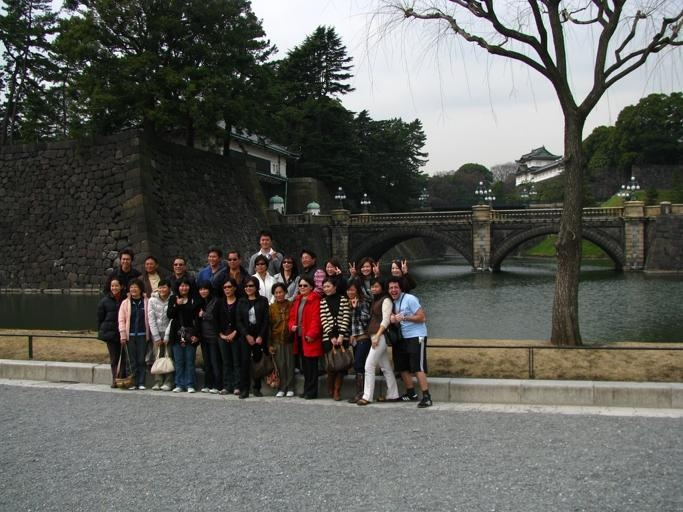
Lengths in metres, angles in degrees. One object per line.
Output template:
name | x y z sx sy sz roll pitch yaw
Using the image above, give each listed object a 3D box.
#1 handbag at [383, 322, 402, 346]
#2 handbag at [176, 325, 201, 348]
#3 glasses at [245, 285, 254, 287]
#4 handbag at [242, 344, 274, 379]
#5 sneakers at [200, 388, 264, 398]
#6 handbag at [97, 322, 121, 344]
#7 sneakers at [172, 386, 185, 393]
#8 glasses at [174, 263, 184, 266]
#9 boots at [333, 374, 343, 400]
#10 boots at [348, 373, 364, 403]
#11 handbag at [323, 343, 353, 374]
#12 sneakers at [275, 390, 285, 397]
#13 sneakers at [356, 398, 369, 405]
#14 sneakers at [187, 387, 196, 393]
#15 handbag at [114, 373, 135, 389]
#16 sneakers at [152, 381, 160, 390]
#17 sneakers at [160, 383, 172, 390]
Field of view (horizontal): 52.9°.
handbag | 0.829 1.177 10.767 0.367 0.494 0.267 -2 1 6
handbag | -2.552 1.325 11.465 0.273 0.361 0.133 5 7 0
glasses | -1.497 0.469 11.247 0.107 0.056 0.022 1 9 16
handbag | -1.341 1.670 11.175 0.436 0.521 0.186 -15 3 -16
sneakers | -1.971 2.265 11.510 0.674 0.113 0.051 1 -5 7
handbag | -3.952 1.302 11.778 0.319 0.288 0.302 0 -2 -21
sneakers | -2.732 2.209 11.499 0.075 0.078 0.179 1 -12 11
glasses | -2.767 0.123 11.819 0.156 0.068 0.095 -5 9 -19
boots | -0.045 2.053 11.015 0.156 0.415 0.334 -2 9 0
boots | 0.237 2.050 10.870 0.244 0.449 0.581 -1 9 4
handbag | -0.017 1.612 10.781 0.443 0.475 0.254 -4 9 -16
sneakers | -0.988 2.222 11.248 0.068 0.079 0.194 -1 -13 10
sneakers | 0.344 2.222 10.595 0.182 0.094 0.107 -1 9 4
sneakers | -2.490 2.213 11.512 0.130 0.076 0.125 -4 9 -13
handbag | -3.670 2.107 11.705 0.296 0.287 0.201 -4 -1 0
sneakers | -3.139 2.186 11.677 0.184 0.101 0.097 3 10 31
sneakers | -2.941 2.187 11.642 0.216 0.102 0.108 -2 9 -4
